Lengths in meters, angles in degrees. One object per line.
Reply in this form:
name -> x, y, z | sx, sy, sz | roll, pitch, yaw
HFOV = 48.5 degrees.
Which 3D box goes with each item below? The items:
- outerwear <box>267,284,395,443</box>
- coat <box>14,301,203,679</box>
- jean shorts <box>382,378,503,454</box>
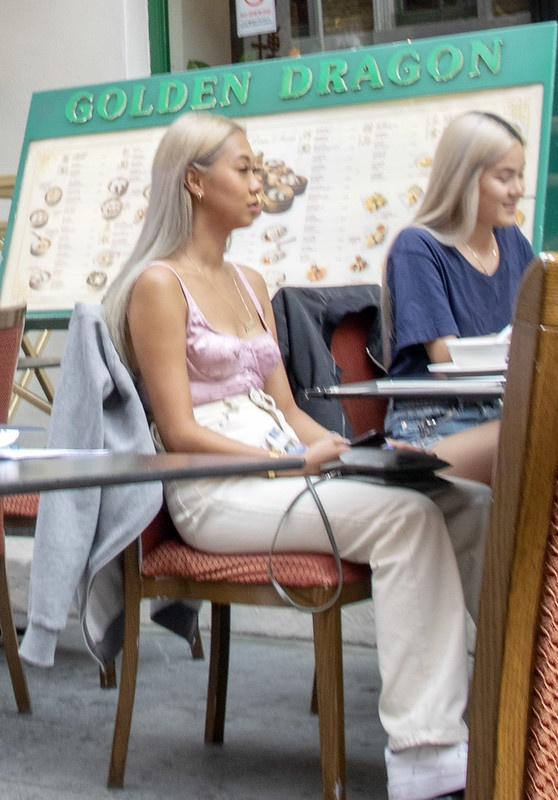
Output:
outerwear -> 0.136, -0.110, 1.776 | 0.377, 0.446, 0.114 | -10, 8, -43
coat -> -0.313, 0.156, 1.091 | 0.143, 0.640, 0.245 | 10, 6, 39
jean shorts -> 0.355, 0.034, 1.388 | 0.222, 0.229, 0.109 | 2, -7, -2
